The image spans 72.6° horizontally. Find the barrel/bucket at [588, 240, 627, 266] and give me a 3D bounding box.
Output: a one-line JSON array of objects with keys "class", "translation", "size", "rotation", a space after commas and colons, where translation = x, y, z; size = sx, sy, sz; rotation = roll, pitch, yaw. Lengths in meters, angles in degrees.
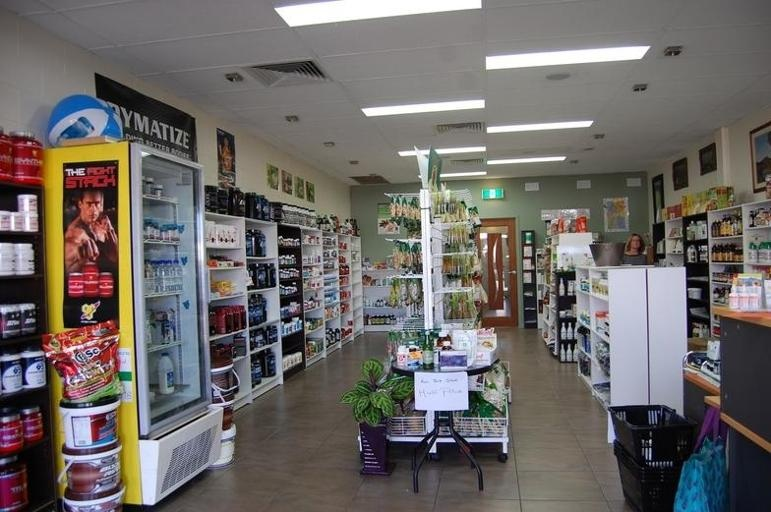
[{"class": "barrel/bucket", "translation": [2.974, -0.038, 7.061], "size": [0.333, 0.232, 0.341], "rotation": [0, -2, 0]}]

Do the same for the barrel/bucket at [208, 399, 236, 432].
[{"class": "barrel/bucket", "translation": [-1.788, 1.737, 5.768], "size": [0.276, 0.341, 0.288], "rotation": [-1, 5, 0]}]

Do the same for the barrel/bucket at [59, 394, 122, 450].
[{"class": "barrel/bucket", "translation": [-2.620, 1.453, 4.784], "size": [0.454, 0.357, 0.449], "rotation": [-1, -6, 0]}]

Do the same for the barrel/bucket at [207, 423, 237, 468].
[{"class": "barrel/bucket", "translation": [-1.708, 2.079, 5.784], "size": [0.329, 0.365, 0.366], "rotation": [1, 0, 14]}]

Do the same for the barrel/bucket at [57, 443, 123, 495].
[{"class": "barrel/bucket", "translation": [-2.614, 1.898, 4.734], "size": [0.450, 0.350, 0.455], "rotation": [-1, 0, 0]}]

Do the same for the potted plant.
[{"class": "potted plant", "translation": [-0.074, 1.704, 5.831], "size": [1.159, 1.332, 0.968], "rotation": [0, -7, 3]}]

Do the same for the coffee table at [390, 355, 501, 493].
[{"class": "coffee table", "translation": [0.590, 1.762, 5.601], "size": [1.157, 1.309, 1.140], "rotation": [-1, -13, 4]}]
